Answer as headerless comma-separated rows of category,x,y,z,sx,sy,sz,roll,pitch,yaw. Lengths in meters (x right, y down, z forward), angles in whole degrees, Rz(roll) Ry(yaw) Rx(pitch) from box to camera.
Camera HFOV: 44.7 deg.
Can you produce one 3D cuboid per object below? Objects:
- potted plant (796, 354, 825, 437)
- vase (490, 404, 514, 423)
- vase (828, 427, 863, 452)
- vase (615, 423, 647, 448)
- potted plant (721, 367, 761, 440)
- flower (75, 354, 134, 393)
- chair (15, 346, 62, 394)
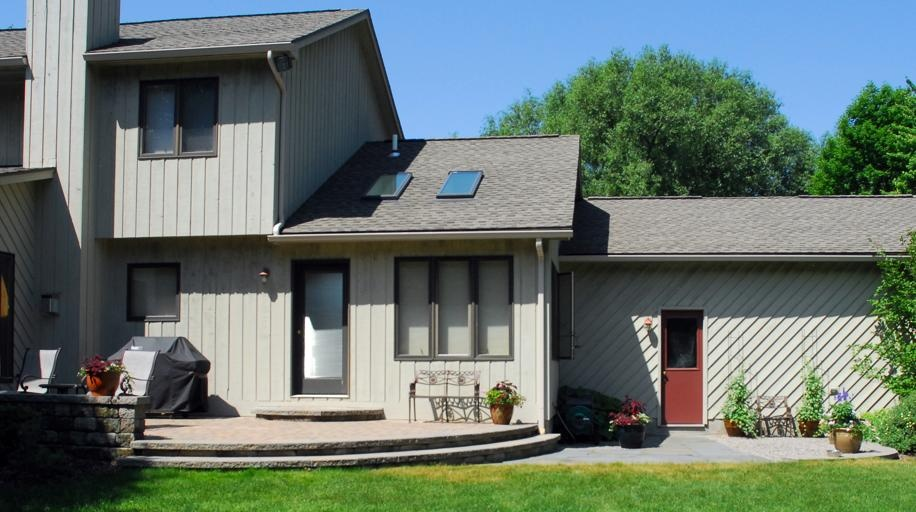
potted plant,11.188,4.590,35.270,0.832,2.132,0.895,6,14,17
vase,1.311,4.720,33.330,0.588,0.410,0.591,0,-15,1
vase,11.347,5.389,32.629,0.740,0.529,0.755,-7,-10,42
vase,5.200,5.389,33.569,0.806,0.582,0.697,-1,-9,5
potted plant,8.978,4.732,35.308,1.117,1.862,0.919,5,14,13
flower,-10.348,3.625,32.560,1.397,0.990,1.395,4,-19,-41
chair,-12.351,3.467,32.857,1.224,1.442,2.941,-3,14,-22
